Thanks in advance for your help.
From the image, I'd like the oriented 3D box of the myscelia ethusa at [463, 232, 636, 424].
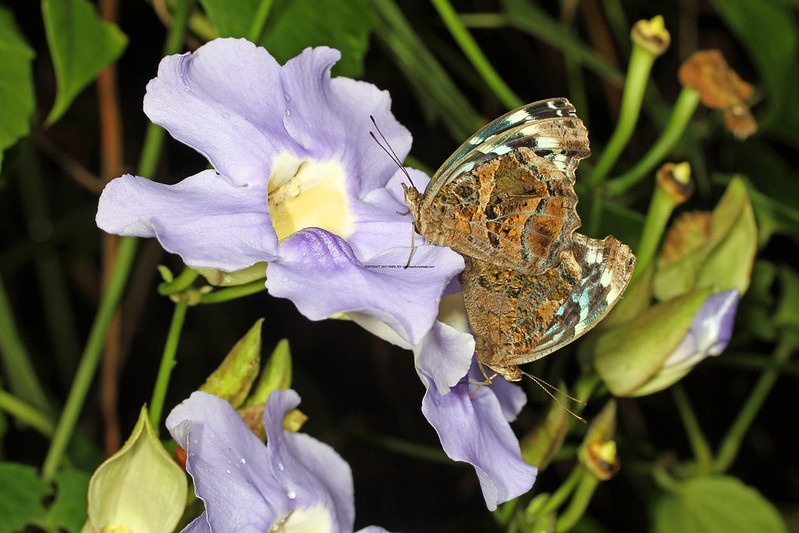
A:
[{"bbox_3d":[0.284,0.069,1.775,0.318,0.229,0.310,30,2,-29],"label":"myscelia ethusa"}]
